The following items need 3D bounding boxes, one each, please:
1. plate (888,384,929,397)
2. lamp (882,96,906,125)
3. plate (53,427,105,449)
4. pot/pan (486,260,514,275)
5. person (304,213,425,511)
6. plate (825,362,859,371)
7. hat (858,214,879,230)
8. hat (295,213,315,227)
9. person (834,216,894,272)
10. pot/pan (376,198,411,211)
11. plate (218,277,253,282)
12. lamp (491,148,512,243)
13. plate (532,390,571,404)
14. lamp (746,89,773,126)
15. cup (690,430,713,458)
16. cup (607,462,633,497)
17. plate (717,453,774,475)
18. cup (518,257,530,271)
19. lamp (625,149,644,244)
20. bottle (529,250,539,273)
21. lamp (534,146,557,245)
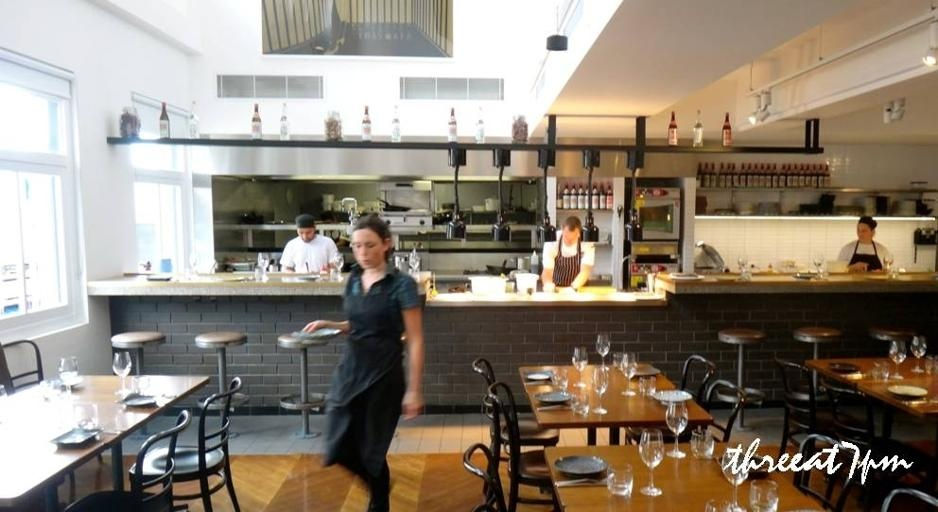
[{"bbox_3d":[5.023,1.547,8.312,0.438,0.099,0.228,-3,3,-2],"label":"plate"},{"bbox_3d":[6.005,-2.048,10.143,0.163,0.349,0.383,18,-11,-19],"label":"lamp"},{"bbox_3d":[-4.101,1.904,7.585,0.435,0.119,0.250,-2,3,13],"label":"plate"},{"bbox_3d":[0.579,0.222,13.579,0.456,0.364,0.286,-1,0,29],"label":"pot/pan"},{"bbox_3d":[-1.067,1.165,7.879,1.130,3.217,0.405,-4,4,-6],"label":"person"},{"bbox_3d":[4.546,1.359,8.837,0.342,0.074,0.221,-3,3,-3],"label":"plate"},{"bbox_3d":[6.289,-0.517,11.491,0.242,0.208,0.206,-3,3,1],"label":"hat"},{"bbox_3d":[-2.448,-0.507,10.909,0.281,0.145,0.260,1,0,19],"label":"hat"},{"bbox_3d":[6.625,-0.207,12.229,0.626,0.977,1.073,3,0,-41],"label":"person"},{"bbox_3d":[-1.404,-0.941,13.449,0.775,0.257,0.206,-1,2,-3],"label":"pot/pan"},{"bbox_3d":[-3.303,0.341,10.335,0.375,0.043,0.395,-3,3,-11],"label":"plate"},{"bbox_3d":[0.396,-0.810,9.950,0.347,1.254,0.313,-1,3,-16],"label":"lamp"},{"bbox_3d":[0.940,1.606,8.208,0.339,0.103,0.233,-4,3,-25],"label":"plate"},{"bbox_3d":[4.408,-2.252,11.095,0.277,0.470,0.509,-4,3,-8],"label":"lamp"},{"bbox_3d":[2.376,1.931,7.411,0.315,0.262,0.283,0,-3,3],"label":"cup"},{"bbox_3d":[1.495,2.261,7.329,0.339,0.295,0.341,0,-9,0],"label":"cup"},{"bbox_3d":[2.892,2.129,7.373,0.360,0.082,0.350,-1,-1,-32],"label":"plate"},{"bbox_3d":[0.974,0.158,13.186,0.224,0.232,0.528,-3,3,6],"label":"cup"},{"bbox_3d":[2.304,-0.815,10.160,0.328,1.301,0.298,-2,7,-22],"label":"lamp"},{"bbox_3d":[1.211,0.113,13.474,0.184,0.376,0.398,-3,3,5],"label":"bottle"},{"bbox_3d":[1.048,-0.810,10.126,0.367,1.302,0.345,1,9,12],"label":"lamp"}]
